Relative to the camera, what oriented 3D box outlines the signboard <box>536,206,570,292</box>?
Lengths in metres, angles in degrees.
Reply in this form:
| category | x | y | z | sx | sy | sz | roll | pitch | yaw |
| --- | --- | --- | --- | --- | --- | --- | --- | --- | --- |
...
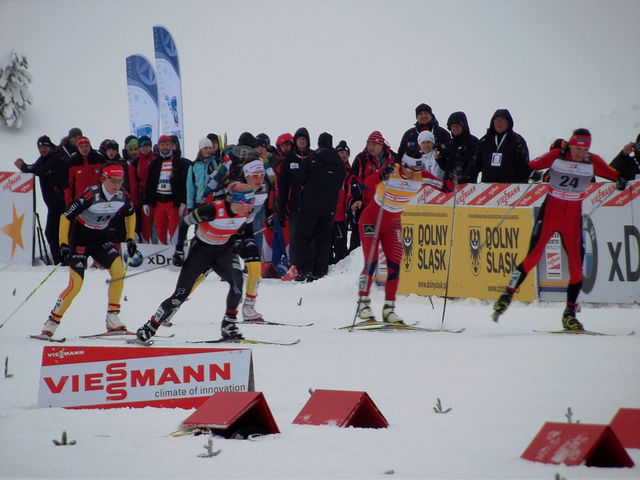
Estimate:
| category | x | y | z | sx | sy | sz | roll | pitch | yaw |
| --- | --- | --- | --- | --- | --- | --- | --- | --- | --- |
| signboard | 3.420 | 0.170 | 10.485 | 0.504 | 1.361 | 0.122 | 0 | -1 | 36 |

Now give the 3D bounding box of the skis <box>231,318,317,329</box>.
| category | x | y | z | sx | sy | sz | roll | pitch | yaw |
| --- | --- | --- | --- | --- | --- | --- | --- | --- | --- |
| skis | -0.603 | 1.084 | 9.248 | 0.935 | 0.121 | 0.112 | 3 | 26 | 6 |

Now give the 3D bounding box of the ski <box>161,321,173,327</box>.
| category | x | y | z | sx | sy | sz | roll | pitch | yaw |
| --- | --- | --- | --- | --- | --- | --- | --- | --- | --- |
| ski | -1.820 | 0.993 | 8.562 | 0.144 | 0.040 | 0.094 | 8 | 21 | 2 |

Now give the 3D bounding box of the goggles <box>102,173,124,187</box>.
| category | x | y | z | sx | sy | sz | roll | pitch | yaw |
| --- | --- | --- | --- | --- | --- | --- | --- | --- | --- |
| goggles | -2.562 | -0.746 | 8.903 | 0.247 | 0.175 | 0.182 | -3 | 5 | -28 |

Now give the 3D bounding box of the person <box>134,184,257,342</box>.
| category | x | y | z | sx | sy | sz | roll | pitch | yaw |
| --- | --- | --- | --- | --- | --- | --- | --- | --- | --- |
| person | -1.429 | 0.112 | 8.506 | 1.269 | 2.693 | 0.963 | 2 | 40 | -18 |

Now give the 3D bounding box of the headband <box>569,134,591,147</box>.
| category | x | y | z | sx | sy | sz | roll | pitch | yaw |
| --- | --- | --- | --- | --- | --- | --- | --- | --- | --- |
| headband | 3.284 | -1.256 | 9.040 | 0.263 | 0.163 | 0.163 | 0 | 5 | 9 |

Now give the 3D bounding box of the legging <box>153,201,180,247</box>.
| category | x | y | z | sx | sy | sz | roll | pitch | yaw |
| --- | --- | --- | --- | --- | --- | --- | --- | --- | --- |
| legging | -2.550 | -0.303 | 12.000 | 0.576 | 0.860 | 0.208 | -4 | 10 | -1 |

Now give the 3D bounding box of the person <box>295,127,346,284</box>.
| category | x | y | z | sx | sy | sz | roll | pitch | yaw |
| --- | --- | --- | --- | --- | --- | --- | --- | --- | --- |
| person | -0.033 | -0.430 | 11.950 | 0.809 | 2.227 | 0.453 | -1 | 4 | -8 |

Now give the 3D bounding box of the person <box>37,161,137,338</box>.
| category | x | y | z | sx | sy | sz | roll | pitch | yaw |
| --- | --- | --- | --- | --- | --- | --- | --- | --- | --- |
| person | -2.909 | 0.091 | 9.167 | 1.060 | 2.190 | 1.100 | -2 | 4 | -15 |

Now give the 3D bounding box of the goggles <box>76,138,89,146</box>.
| category | x | y | z | sx | sy | sz | roll | pitch | yaw |
| --- | --- | --- | --- | --- | --- | --- | --- | --- | --- |
| goggles | -3.685 | -1.534 | 11.174 | 0.192 | 0.075 | 0.116 | -1 | 5 | -9 |

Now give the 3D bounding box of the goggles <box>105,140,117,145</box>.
| category | x | y | z | sx | sy | sz | roll | pitch | yaw |
| --- | --- | --- | --- | --- | --- | --- | --- | --- | --- |
| goggles | -3.581 | -1.692 | 12.365 | 0.110 | 0.098 | 0.120 | 1 | -6 | 1 |

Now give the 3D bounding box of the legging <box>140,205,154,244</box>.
| category | x | y | z | sx | sy | sz | roll | pitch | yaw |
| --- | --- | --- | --- | --- | --- | --- | --- | --- | --- |
| legging | -3.033 | -0.282 | 12.574 | 0.231 | 0.675 | 0.372 | -2 | 4 | -18 |

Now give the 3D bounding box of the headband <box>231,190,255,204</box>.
| category | x | y | z | sx | sy | sz | roll | pitch | yaw |
| --- | --- | --- | --- | --- | --- | --- | --- | --- | --- |
| headband | -0.869 | -0.513 | 8.147 | 0.178 | 0.136 | 0.152 | -8 | 10 | 8 |

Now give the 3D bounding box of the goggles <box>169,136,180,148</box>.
| category | x | y | z | sx | sy | sz | roll | pitch | yaw |
| --- | --- | --- | --- | --- | --- | --- | --- | --- | --- |
| goggles | -2.647 | -1.801 | 13.060 | 0.114 | 0.185 | 0.167 | 1 | 8 | 21 |

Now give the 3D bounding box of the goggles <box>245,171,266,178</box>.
| category | x | y | z | sx | sy | sz | roll | pitch | yaw |
| --- | --- | --- | --- | --- | --- | --- | --- | --- | --- |
| goggles | -0.750 | -0.774 | 8.502 | 0.264 | 0.060 | 0.097 | -5 | 6 | -36 |

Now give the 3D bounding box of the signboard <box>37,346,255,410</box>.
| category | x | y | z | sx | sy | sz | roll | pitch | yaw |
| --- | --- | --- | --- | --- | --- | --- | --- | --- | --- |
| signboard | -1.611 | 1.265 | 6.624 | 1.895 | 0.595 | 0.200 | -1 | 4 | -4 |

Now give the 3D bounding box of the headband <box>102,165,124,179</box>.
| category | x | y | z | sx | sy | sz | roll | pitch | yaw |
| --- | --- | --- | --- | --- | --- | --- | --- | --- | --- |
| headband | -2.567 | -0.854 | 8.887 | 0.190 | 0.138 | 0.159 | -15 | 5 | 17 |

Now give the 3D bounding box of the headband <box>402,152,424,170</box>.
| category | x | y | z | sx | sy | sz | roll | pitch | yaw |
| --- | --- | --- | --- | --- | --- | --- | --- | --- | --- |
| headband | 1.179 | -1.020 | 8.998 | 0.152 | 0.124 | 0.215 | 7 | 25 | -17 |
